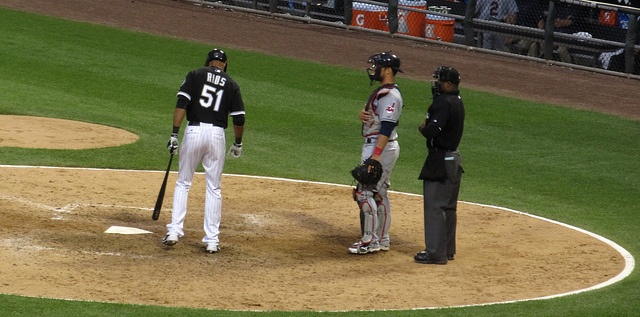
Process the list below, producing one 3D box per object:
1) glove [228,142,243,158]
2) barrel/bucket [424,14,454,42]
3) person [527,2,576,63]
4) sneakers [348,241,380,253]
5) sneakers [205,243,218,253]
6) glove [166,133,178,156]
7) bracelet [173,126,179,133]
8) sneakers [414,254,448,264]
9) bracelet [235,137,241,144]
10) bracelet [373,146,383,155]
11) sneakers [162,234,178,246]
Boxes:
[{"bbox_3d":[-2.062,-0.187,24.574,0.285,0.403,0.272,6,48,2],"label":"glove"},{"bbox_3d":[4.213,-4.656,36.335,1.243,0.850,1.070,3,11,13],"label":"barrel/bucket"},{"bbox_3d":[8.083,-4.278,34.355,1.441,1.978,0.907,16,14,15],"label":"person"},{"bbox_3d":[1.076,2.131,24.540,0.715,0.243,0.292,1,8,-6],"label":"sneakers"},{"bbox_3d":[-2.515,2.094,24.034,0.320,0.238,0.220,4,15,-24],"label":"sneakers"},{"bbox_3d":[-3.509,-0.374,24.197,0.383,0.450,0.205,10,10,-3],"label":"glove"},{"bbox_3d":[-3.429,-0.705,24.079,0.138,0.181,0.254,10,12,-10],"label":"bracelet"},{"bbox_3d":[2.630,2.371,24.160,0.662,0.197,0.270,0,3,6],"label":"sneakers"},{"bbox_3d":[-1.960,-0.444,24.402,0.156,0.121,0.126,5,23,-3],"label":"bracelet"},{"bbox_3d":[1.393,-0.193,24.142,0.217,0.130,0.183,15,4,-1],"label":"bracelet"},{"bbox_3d":[-3.527,1.916,23.962,0.349,0.321,0.168,9,14,-10],"label":"sneakers"}]
